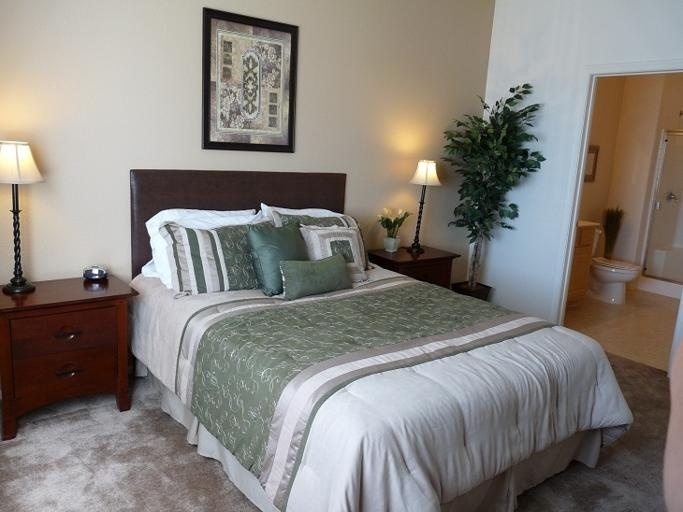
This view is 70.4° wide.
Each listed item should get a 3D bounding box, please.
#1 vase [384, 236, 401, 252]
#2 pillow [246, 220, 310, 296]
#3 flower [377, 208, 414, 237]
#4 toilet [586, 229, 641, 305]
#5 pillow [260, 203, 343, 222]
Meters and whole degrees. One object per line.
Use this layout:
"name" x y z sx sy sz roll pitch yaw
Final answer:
"vase" 0.483 -0.120 4.607 0.139 0.121 0.135 -4 10 -32
"pillow" -0.443 0.032 3.310 0.213 0.377 0.420 12 17 43
"flower" 0.528 -0.343 4.681 0.288 0.266 0.298 4 4 20
"toilet" 3.431 0.236 5.983 0.463 0.652 0.578 -3 9 -34
"pillow" -0.328 -0.370 4.005 0.416 0.063 0.161 1 31 -36
